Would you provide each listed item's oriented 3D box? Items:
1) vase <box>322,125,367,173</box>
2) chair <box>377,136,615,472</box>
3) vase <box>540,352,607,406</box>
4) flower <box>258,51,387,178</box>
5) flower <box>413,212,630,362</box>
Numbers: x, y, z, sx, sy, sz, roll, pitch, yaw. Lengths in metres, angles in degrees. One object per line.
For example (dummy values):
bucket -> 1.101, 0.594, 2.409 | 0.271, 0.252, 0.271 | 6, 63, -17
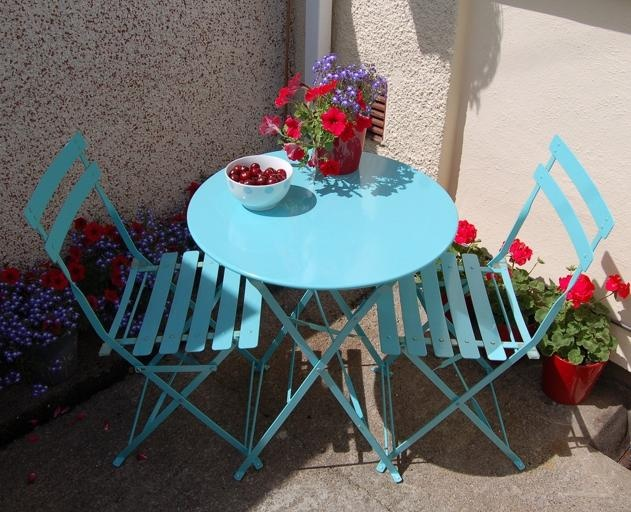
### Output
vase -> 0.122, -0.468, 2.361 | 0.208, 0.190, 0.197 | -5, 16, -24
chair -> 0.869, 0.284, 2.478 | 0.790, 1.367, 0.833 | 2, 47, 2
vase -> 1.223, 0.603, 2.604 | 0.263, 0.241, 0.253 | 5, 27, 9
flower -> 0.050, -0.603, 2.266 | 0.458, 0.430, 0.622 | -4, 62, -1
flower -> 0.999, 0.192, 2.738 | 0.923, 0.409, 0.643 | 16, 48, 1
